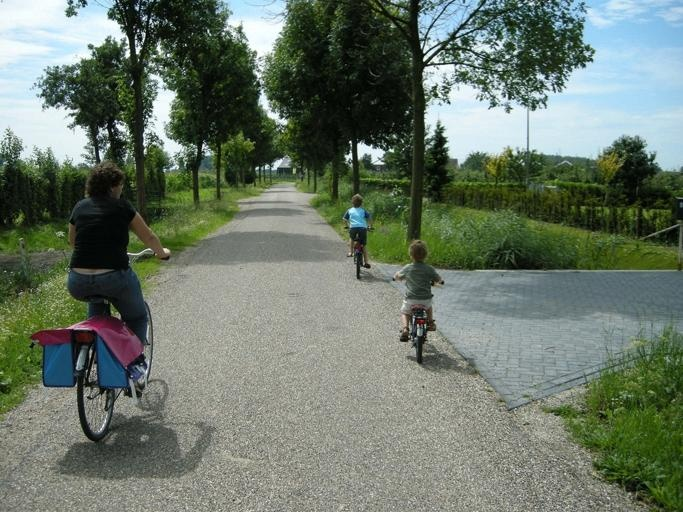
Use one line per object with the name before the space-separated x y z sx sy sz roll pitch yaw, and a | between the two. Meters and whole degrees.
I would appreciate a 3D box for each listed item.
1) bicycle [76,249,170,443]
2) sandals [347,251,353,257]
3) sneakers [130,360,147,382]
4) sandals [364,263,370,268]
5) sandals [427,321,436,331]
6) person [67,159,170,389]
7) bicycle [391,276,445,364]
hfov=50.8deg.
bicycle | -2.617 0.940 8.292 0.840 1.999 1.358 -1 7 -17
sandals | 0.176 -0.048 15.858 0.086 0.138 0.312 0 -6 -7
sneakers | -2.320 1.316 8.222 0.132 0.198 0.068 10 -40 -16
sandals | 0.518 0.197 14.745 0.071 0.088 0.216 -1 -1 0
sandals | 1.257 0.975 10.084 0.074 0.113 0.245 -2 -2 0
person | -2.688 0.221 8.529 1.043 2.579 1.342 0 -2 29
bicycle | 1.045 0.982 10.107 0.512 0.809 1.248 0 9 3
